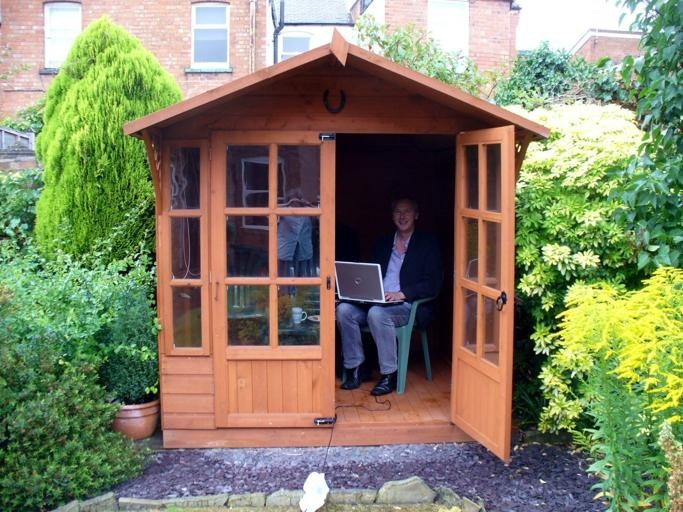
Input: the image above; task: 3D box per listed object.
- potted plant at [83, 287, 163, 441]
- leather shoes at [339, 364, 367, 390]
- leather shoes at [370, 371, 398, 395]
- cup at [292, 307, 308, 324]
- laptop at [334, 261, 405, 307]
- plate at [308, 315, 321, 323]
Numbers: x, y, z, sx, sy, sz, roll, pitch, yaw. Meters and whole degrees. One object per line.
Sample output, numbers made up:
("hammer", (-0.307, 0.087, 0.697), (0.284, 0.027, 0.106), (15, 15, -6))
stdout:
("potted plant", (-1.743, 0.912, 5.184), (0.549, 1.212, 0.444), (0, 7, 7))
("leather shoes", (0.134, 1.181, 6.057), (0.131, 0.246, 0.335), (-2, -5, 25))
("leather shoes", (0.395, 1.206, 5.914), (0.123, 0.241, 0.332), (-4, -7, 33))
("cup", (-0.343, 0.489, 5.108), (0.140, 0.147, 0.091), (0, 5, -5))
("laptop", (0.236, 0.125, 5.899), (0.547, 0.418, 0.392), (3, 9, 41))
("plate", (-0.227, 0.515, 5.116), (0.062, 0.025, 0.067), (-7, 35, 6))
